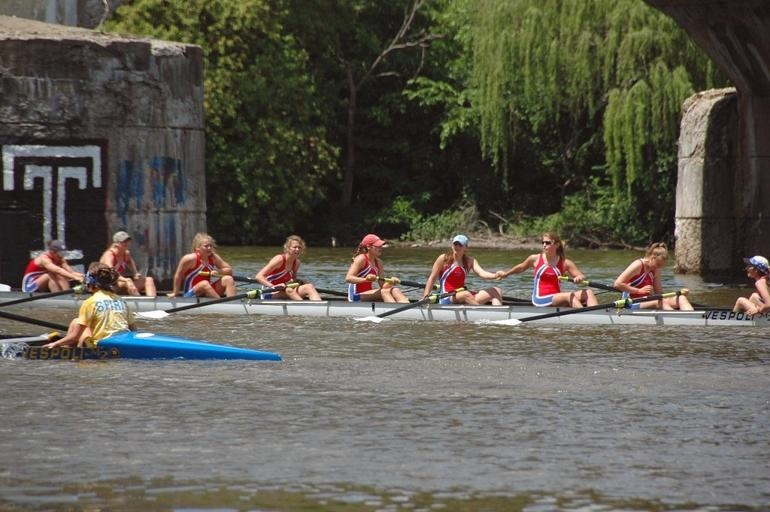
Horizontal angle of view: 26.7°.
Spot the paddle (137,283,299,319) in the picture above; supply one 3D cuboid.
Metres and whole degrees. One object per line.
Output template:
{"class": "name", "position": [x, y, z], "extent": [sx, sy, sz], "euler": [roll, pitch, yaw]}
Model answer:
{"class": "paddle", "position": [-3.180, 0.877, 31.453], "extent": [2.842, 0.189, 0.311], "euler": [-7, 45, 1]}

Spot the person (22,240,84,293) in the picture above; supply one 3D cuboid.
{"class": "person", "position": [-6.479, 0.362, 32.269], "extent": [1.504, 1.156, 0.675], "euler": [5, 8, 21]}

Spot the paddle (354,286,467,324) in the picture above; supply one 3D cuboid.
{"class": "paddle", "position": [0.507, 0.946, 31.140], "extent": [2.061, 0.224, 0.187], "euler": [-13, 44, -15]}

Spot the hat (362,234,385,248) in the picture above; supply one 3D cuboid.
{"class": "hat", "position": [-0.197, -0.276, 31.477], "extent": [0.414, 0.168, 0.245], "euler": [-1, 3, 10]}

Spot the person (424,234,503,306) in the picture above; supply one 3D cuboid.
{"class": "person", "position": [1.588, 0.408, 31.367], "extent": [2.099, 1.393, 0.910], "euler": [5, 9, 35]}

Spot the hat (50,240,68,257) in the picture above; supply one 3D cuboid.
{"class": "hat", "position": [-6.510, -0.156, 32.248], "extent": [0.327, 0.311, 0.532], "euler": [-2, -1, -12]}
